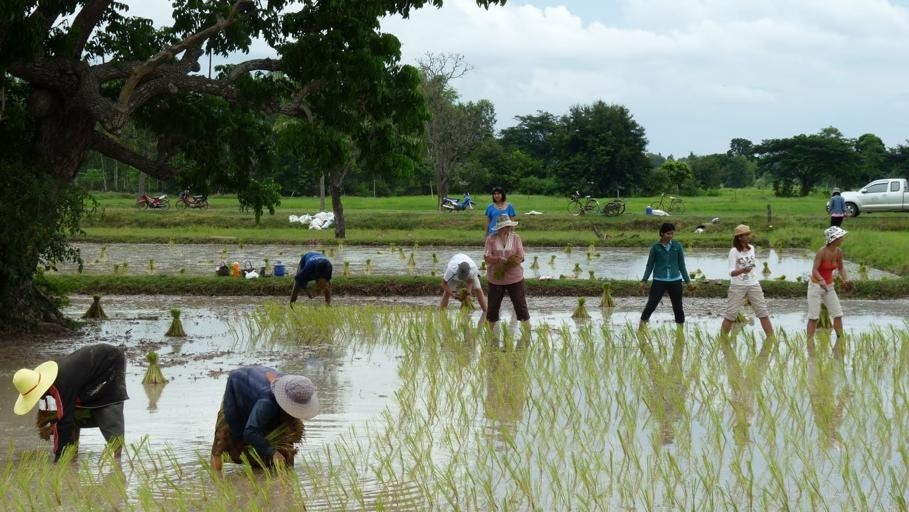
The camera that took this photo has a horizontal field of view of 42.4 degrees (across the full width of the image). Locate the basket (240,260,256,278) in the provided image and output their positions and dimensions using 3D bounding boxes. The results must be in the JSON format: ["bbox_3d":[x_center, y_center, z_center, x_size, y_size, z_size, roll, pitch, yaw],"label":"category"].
[{"bbox_3d":[-6.372,0.420,35.959,0.406,0.736,0.693,0,-4,0],"label":"basket"}]

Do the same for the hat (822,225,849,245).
[{"bbox_3d":[8.613,-0.456,26.593,0.362,0.427,1.121,1,-1,17],"label":"hat"}]

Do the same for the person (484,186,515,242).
[{"bbox_3d":[1.076,-0.762,27.533,0.690,1.656,0.438,-2,-5,0],"label":"person"}]

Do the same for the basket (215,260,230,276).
[{"bbox_3d":[-6.881,0.391,34.728,0.359,0.285,0.565,5,8,-2],"label":"basket"}]

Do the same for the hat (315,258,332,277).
[{"bbox_3d":[-3.163,0.331,28.677,0.257,0.412,0.651,1,-1,18],"label":"hat"}]

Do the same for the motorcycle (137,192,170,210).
[{"bbox_3d":[-16.353,-2.902,63.369,2.197,0.786,1.457,1,-1,39],"label":"motorcycle"}]

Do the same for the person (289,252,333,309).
[{"bbox_3d":[-3.528,0.632,29.451,1.140,1.361,2.305,0,-8,-14],"label":"person"}]

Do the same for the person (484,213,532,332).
[{"bbox_3d":[1.156,0.349,26.705,0.994,1.991,1.091,1,-1,1],"label":"person"}]

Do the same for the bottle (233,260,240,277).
[{"bbox_3d":[-6.405,0.433,34.272,0.229,0.399,0.856,1,-1,-11],"label":"bottle"}]

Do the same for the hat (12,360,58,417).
[{"bbox_3d":[-8.270,2.551,22.508,0.722,0.295,0.681,-50,-2,38],"label":"hat"}]

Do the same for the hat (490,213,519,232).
[{"bbox_3d":[1.094,-0.720,26.850,0.530,0.341,0.909,1,-1,-1],"label":"hat"}]

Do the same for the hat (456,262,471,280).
[{"bbox_3d":[0.174,0.375,28.228,0.313,0.357,0.367,13,-19,3],"label":"hat"}]
